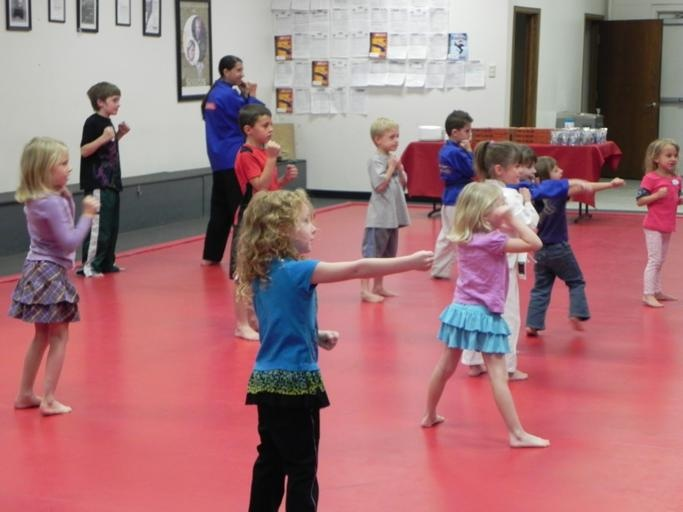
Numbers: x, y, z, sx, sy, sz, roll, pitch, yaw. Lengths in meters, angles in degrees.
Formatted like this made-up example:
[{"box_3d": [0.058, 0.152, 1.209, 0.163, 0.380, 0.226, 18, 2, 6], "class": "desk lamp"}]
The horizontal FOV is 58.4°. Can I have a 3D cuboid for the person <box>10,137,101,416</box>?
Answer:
[{"box_3d": [-1.342, 0.110, 2.853, 0.564, 1.297, 0.243, 1, 13, 6], "class": "person"}]

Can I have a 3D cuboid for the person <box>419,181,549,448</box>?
[{"box_3d": [0.609, 0.253, 2.582, 0.541, 1.089, 0.260, 5, 14, 22], "class": "person"}]
